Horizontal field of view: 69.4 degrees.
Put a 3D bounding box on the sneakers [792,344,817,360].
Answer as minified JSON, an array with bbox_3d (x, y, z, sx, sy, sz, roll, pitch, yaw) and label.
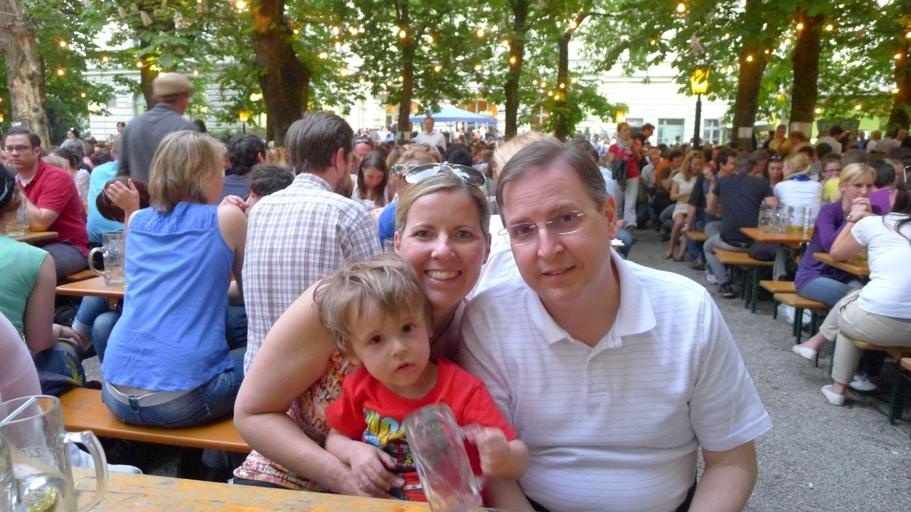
[{"bbox_3d":[4.451,1.236,8.427,0.173,0.108,0.306,1,15,-17],"label":"sneakers"}]

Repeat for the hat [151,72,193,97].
[{"bbox_3d":[-3.815,-2.219,8.834,0.466,0.414,0.486,7,23,-3],"label":"hat"}]

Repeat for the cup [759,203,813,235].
[{"bbox_3d":[5.114,-0.562,10.133,0.539,0.321,0.587,1,0,0],"label":"cup"}]

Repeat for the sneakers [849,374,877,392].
[{"bbox_3d":[4.875,1.515,7.936,0.329,0.180,0.111,12,22,17],"label":"sneakers"}]
